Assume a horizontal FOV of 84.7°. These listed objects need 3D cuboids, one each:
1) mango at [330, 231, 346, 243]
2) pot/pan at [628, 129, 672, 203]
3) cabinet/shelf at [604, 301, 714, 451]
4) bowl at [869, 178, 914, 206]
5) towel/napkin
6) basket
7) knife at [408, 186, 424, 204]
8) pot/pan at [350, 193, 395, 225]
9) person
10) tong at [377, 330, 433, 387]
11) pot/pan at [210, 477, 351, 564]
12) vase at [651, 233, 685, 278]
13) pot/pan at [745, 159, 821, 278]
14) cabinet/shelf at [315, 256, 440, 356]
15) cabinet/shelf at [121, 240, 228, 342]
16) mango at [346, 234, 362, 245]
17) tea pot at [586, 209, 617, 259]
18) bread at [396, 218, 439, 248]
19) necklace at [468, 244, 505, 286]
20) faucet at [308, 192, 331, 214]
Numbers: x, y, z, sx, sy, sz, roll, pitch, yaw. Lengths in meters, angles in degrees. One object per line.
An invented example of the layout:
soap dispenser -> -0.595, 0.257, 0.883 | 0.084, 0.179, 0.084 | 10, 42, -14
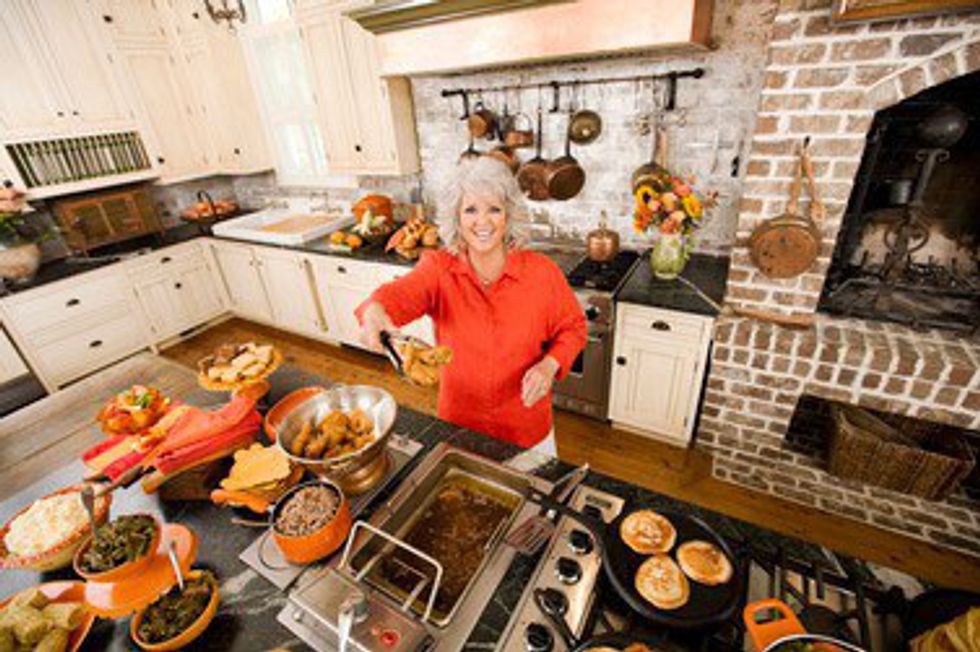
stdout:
mango -> -1.291, -0.736, 4.566 | 0.121, 0.110, 0.101 | 6, 68, 8
pot/pan -> 1.117, -1.094, 3.718 | 0.292, 0.448, 0.100 | 7, 9, 28
cabinet/shelf -> 1.255, 0.312, 3.745 | 0.540, 0.924, 0.631 | -13, 20, -43
bowl -> 2.413, -0.794, 3.236 | 0.188, 0.121, 0.172 | -14, 21, 5
towel/napkin -> -1.333, 0.502, 2.321 | 0.498, 0.130, 0.464 | 9, 25, 31
basket -> 2.462, 0.756, 3.326 | 0.730, 0.483, 0.368 | 10, 27, 24
knife -> -0.666, -1.160, 4.802 | 0.167, 0.141, 0.041 | 4, 11, 25
pot/pan -> -1.051, -1.062, 4.765 | 0.315, 0.244, 0.361 | -1, 40, 7
person -> -0.053, 0.193, 2.794 | 1.220, 1.890, 0.826 | -9, 32, -11
tong -> -0.371, 0.140, 2.387 | 0.180, 0.226, 0.189 | -12, 27, -23
pot/pan -> -0.838, 0.733, 2.111 | 0.550, 0.200, 0.274 | 3, 39, 1
vase -> 1.167, -0.454, 3.527 | 0.230, 0.245, 0.181 | -22, 44, -28
pot/pan -> 1.559, -0.541, 2.828 | 0.381, 0.591, 0.098 | 20, 19, 33
cabinet/shelf -> -0.744, -0.169, 3.474 | 0.768, 0.625, 0.394 | 14, 31, 26
cabinet/shelf -> -3.184, -0.342, 5.202 | 0.510, 0.818, 0.887 | 4, 27, 19
mango -> -1.133, -0.709, 4.462 | 0.103, 0.083, 0.099 | 3, 2, 29
tea pot -> 0.791, -0.634, 3.792 | 0.259, 0.327, 0.234 | 4, 28, 18
bread -> -0.584, -0.725, 4.274 | 0.440, 0.206, 0.471 | -3, 13, -3
necklace -> -0.014, -0.292, 2.673 | 0.171, 0.140, 0.203 | -2, 14, 3
faucet -> -1.714, -1.256, 5.419 | 0.244, 0.264, 0.177 | 6, 41, -7
